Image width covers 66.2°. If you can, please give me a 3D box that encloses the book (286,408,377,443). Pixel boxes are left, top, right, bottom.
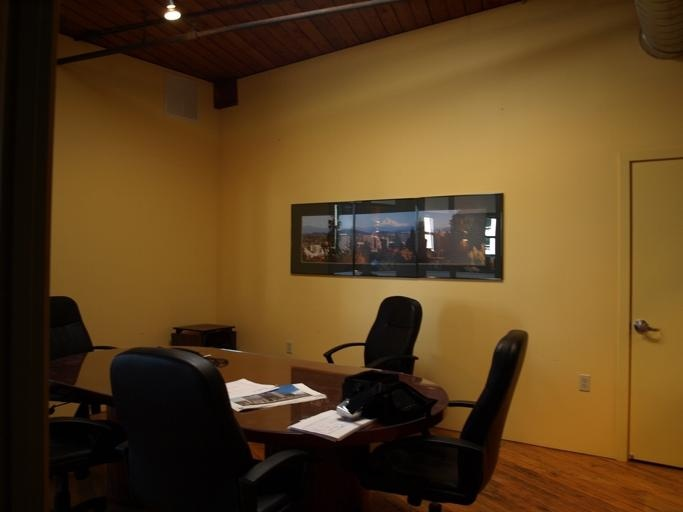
[{"bbox_3d":[-0.038,0.662,2.051,0.257,0.026,0.253,6,3,34],"label":"book"}]

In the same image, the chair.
[{"bbox_3d":[-0.190,0.752,2.744,1.700,0.706,1.372,0,-1,34],"label":"chair"}]

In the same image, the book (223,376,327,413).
[{"bbox_3d":[-0.341,0.661,2.466,0.297,0.053,0.283,2,0,-40],"label":"book"}]
